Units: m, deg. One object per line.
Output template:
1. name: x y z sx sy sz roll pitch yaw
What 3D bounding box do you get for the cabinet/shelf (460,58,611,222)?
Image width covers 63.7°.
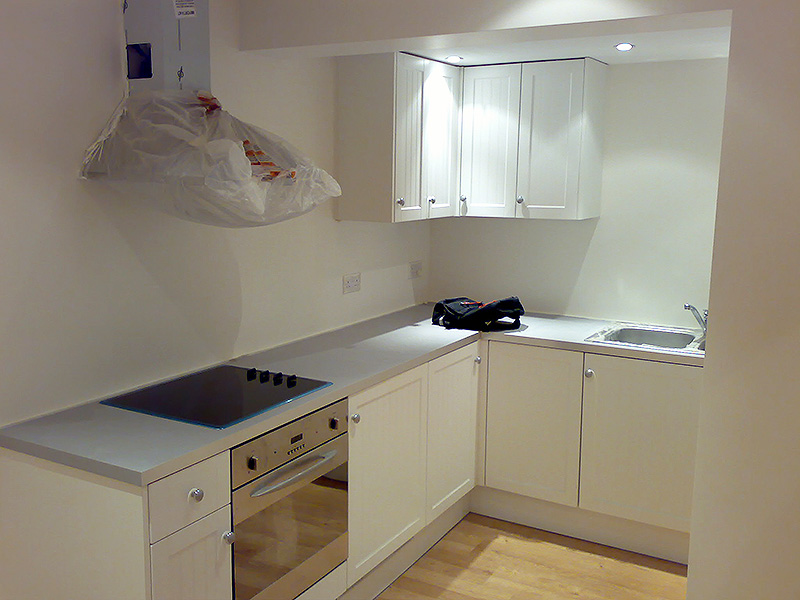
1. cabinet/shelf: 0.690 -0.886 3.586 0.702 0.848 0.269 2 15 6

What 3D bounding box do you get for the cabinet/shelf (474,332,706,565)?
1. cabinet/shelf: 0.982 0.749 3.278 1.096 1.000 0.433 2 3 24

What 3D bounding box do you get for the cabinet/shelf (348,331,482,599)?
1. cabinet/shelf: 0.052 0.787 3.066 0.424 0.952 1.063 2 8 29

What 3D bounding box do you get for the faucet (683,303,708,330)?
1. faucet: 1.617 0.097 3.529 0.111 0.152 0.213 6 16 21

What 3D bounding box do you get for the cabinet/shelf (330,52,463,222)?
1. cabinet/shelf: -0.047 -0.862 3.358 0.334 0.783 0.816 2 6 21
